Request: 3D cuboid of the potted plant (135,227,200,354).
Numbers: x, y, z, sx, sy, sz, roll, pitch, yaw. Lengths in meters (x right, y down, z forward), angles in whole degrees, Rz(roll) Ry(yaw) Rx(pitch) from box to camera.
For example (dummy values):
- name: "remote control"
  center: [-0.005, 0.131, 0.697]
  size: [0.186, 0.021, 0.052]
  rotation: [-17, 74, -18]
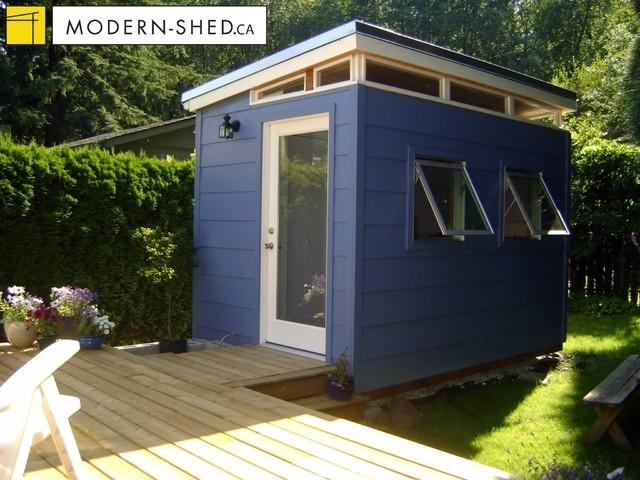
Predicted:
- name: "potted plant"
  center: [-2.073, 0.604, 7.018]
  size: [0.810, 1.556, 0.315]
  rotation: [-1, 4, -34]

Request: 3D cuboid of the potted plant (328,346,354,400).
- name: "potted plant"
  center: [0.214, 1.349, 5.268]
  size: [0.259, 0.433, 0.352]
  rotation: [2, 3, 6]

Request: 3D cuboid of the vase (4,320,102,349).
- name: "vase"
  center: [-3.111, 1.063, 5.899]
  size: [0.594, 0.221, 0.532]
  rotation: [-3, -6, 38]

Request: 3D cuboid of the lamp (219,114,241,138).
- name: "lamp"
  center: [-1.129, -1.414, 6.565]
  size: [0.255, 0.266, 0.131]
  rotation: [0, 3, -15]
